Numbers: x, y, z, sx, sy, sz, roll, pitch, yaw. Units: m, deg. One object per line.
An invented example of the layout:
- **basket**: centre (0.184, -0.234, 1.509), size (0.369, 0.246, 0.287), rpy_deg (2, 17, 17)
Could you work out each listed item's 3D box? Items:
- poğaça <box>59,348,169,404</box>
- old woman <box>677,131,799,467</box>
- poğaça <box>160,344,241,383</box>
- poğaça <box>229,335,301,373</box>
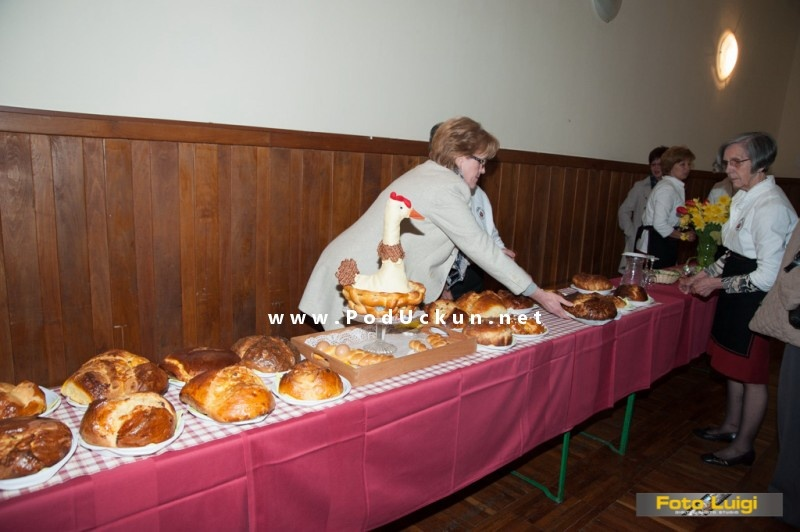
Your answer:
- **poğaça**: centre (-1.080, 0.388, 1.967), size (0.253, 0.080, 0.252), rpy_deg (24, 11, 31)
- **old woman**: centre (2.059, 0.287, 3.314), size (0.680, 2.085, 0.808), rpy_deg (10, 13, 14)
- **poğaça**: centre (-0.821, 0.368, 2.181), size (0.228, 0.149, 0.334), rpy_deg (7, 7, 20)
- **poğaça**: centre (-0.559, 0.328, 2.286), size (0.348, 0.152, 0.232), rpy_deg (10, 11, 34)
